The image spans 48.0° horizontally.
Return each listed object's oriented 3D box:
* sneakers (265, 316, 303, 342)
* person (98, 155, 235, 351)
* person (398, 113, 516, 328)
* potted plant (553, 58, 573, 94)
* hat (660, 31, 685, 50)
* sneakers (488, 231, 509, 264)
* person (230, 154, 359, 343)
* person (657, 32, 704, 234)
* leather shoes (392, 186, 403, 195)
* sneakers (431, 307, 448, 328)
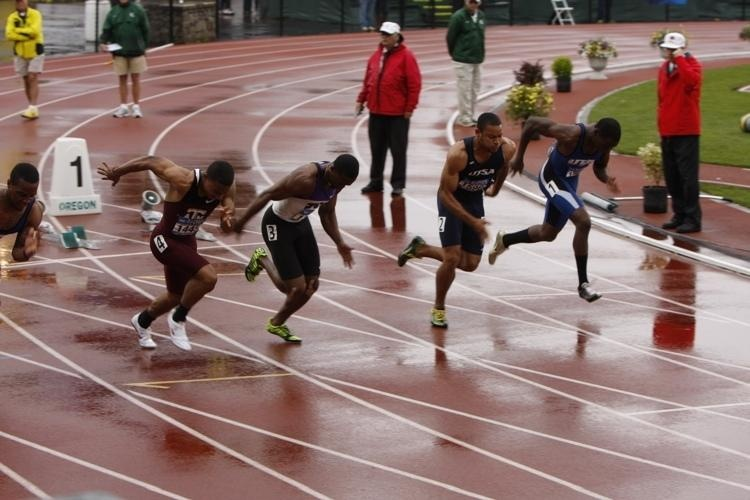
[{"bbox_3d":[-1.040,0.823,8.897,0.523,0.154,0.154,18,13,-4],"label":"sneakers"},{"bbox_3d":[-1.903,0.045,8.465,1.282,1.955,0.557,-3,18,5],"label":"person"},{"bbox_3d":[0.948,-0.332,9.361,1.209,2.303,1.262,-1,17,11],"label":"person"},{"bbox_3d":[5.277,-4.811,23.656,0.510,0.961,0.567,-2,17,10],"label":"potted plant"},{"bbox_3d":[4.312,-2.922,12.066,0.370,0.165,0.445,6,10,34],"label":"hat"},{"bbox_3d":[1.571,-0.018,10.734,0.269,0.433,0.169,21,34,5],"label":"sneakers"},{"bbox_3d":[-0.785,-0.030,8.872,1.252,1.953,1.036,-7,17,-7],"label":"person"},{"bbox_3d":[4.433,-1.642,12.127,0.625,2.827,0.945,0,19,16],"label":"person"},{"bbox_3d":[0.389,-0.951,13.921,0.239,0.104,0.186,-1,0,5],"label":"leather shoes"},{"bbox_3d":[0.723,0.734,9.366,0.180,0.206,0.237,-3,15,3],"label":"sneakers"}]
